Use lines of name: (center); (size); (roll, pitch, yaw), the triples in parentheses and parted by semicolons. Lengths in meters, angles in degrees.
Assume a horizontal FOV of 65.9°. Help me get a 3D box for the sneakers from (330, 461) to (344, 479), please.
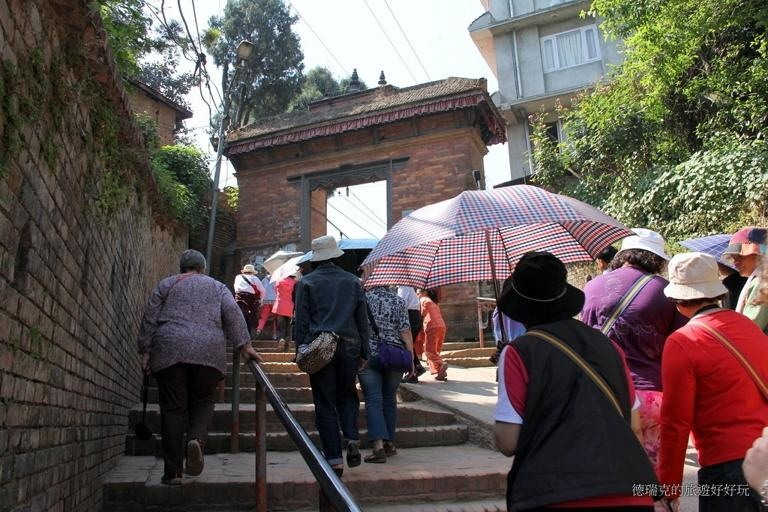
sneakers: (-0.424, 1.950, 5.384); (0.091, 0.148, 0.314); (-6, 0, -3)

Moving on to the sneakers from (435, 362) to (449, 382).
sneakers: (0.974, 1.939, 9.923); (0.128, 0.347, 0.144); (16, -5, -37)

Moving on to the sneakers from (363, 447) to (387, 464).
sneakers: (-0.092, 2.022, 6.017); (0.117, 0.103, 0.251); (12, -16, -37)

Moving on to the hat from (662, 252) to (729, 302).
hat: (2.161, 0.148, 4.158); (0.330, 0.202, 0.371); (-2, -6, -12)

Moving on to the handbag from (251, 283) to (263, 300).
handbag: (-2.301, 0.627, 10.684); (0.141, 0.242, 0.256); (-28, -26, 35)

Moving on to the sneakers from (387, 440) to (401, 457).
sneakers: (0.095, 2.019, 6.255); (0.115, 0.116, 0.293); (-2, -23, 0)

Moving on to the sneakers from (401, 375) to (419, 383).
sneakers: (0.412, 1.990, 9.531); (0.264, 0.128, 0.373); (0, -13, 5)

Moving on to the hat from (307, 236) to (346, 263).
hat: (-0.556, -0.102, 6.157); (0.400, 0.208, 0.379); (-19, 7, -24)

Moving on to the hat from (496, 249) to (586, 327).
hat: (0.916, 0.215, 3.493); (0.408, 0.244, 0.470); (-20, 30, 7)

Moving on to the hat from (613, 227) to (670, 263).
hat: (2.208, -0.121, 5.075); (0.375, 0.190, 0.287); (10, -8, -12)

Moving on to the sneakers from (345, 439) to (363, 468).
sneakers: (-0.286, 1.865, 5.607); (0.114, 0.306, 0.129); (-4, 43, -12)

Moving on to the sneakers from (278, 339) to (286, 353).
sneakers: (-1.885, 1.649, 10.955); (0.114, 0.310, 0.130); (7, 31, -4)

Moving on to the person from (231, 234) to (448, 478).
person: (-0.533, 0.900, 5.774); (0.542, 2.288, 0.761); (-6, 0, 35)

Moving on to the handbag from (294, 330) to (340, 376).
handbag: (-0.623, 0.914, 5.566); (0.410, 0.393, 0.210); (-6, 0, -2)

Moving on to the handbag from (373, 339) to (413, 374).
handbag: (0.071, 1.053, 6.220); (0.312, 0.219, 0.152); (23, -49, -24)

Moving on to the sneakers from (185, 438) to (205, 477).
sneakers: (-1.710, 1.836, 5.444); (0.148, 0.392, 0.167); (-1, 12, -4)
